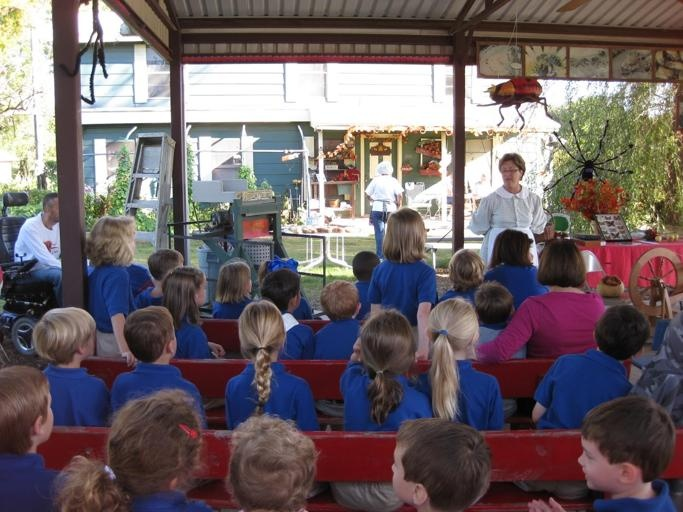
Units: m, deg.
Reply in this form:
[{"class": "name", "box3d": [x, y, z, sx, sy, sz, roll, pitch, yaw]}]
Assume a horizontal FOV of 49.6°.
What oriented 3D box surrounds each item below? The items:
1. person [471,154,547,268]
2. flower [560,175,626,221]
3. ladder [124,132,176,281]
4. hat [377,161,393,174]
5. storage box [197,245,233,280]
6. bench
[{"class": "person", "box3d": [1.599, -0.246, 7.014, 0.748, 1.477, 0.425, 0, 11, 1]}, {"class": "flower", "box3d": [2.774, -0.648, 8.142, 0.584, 0.597, 0.630, 3, 7, 35]}, {"class": "ladder", "box3d": [-2.233, -0.578, 8.484, 0.377, 1.697, 0.415, 3, -2, 8]}, {"class": "hat", "box3d": [0.616, -1.331, 10.902, 0.198, 0.198, 0.398, 2, 4, 2]}, {"class": "storage box", "box3d": [-1.358, 0.042, 7.769, 0.342, 0.392, 0.297, 1, 5, -1]}, {"class": "bench", "box3d": [0.066, 0.918, 3.961, 3.193, 0.698, 0.860, 2, 4, 1]}]
